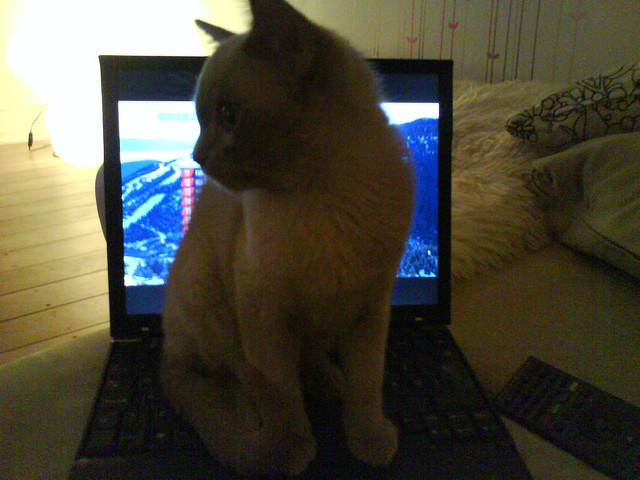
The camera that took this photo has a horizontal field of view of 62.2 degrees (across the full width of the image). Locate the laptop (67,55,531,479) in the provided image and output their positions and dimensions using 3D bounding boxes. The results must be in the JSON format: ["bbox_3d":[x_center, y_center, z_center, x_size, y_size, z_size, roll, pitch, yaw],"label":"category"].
[{"bbox_3d":[-0.016,0.040,0.960,0.770,0.490,0.597,0,15,1],"label":"laptop"}]

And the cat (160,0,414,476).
[{"bbox_3d":[-0.064,0.006,0.699,0.366,0.605,0.209,1,20,8],"label":"cat"}]
